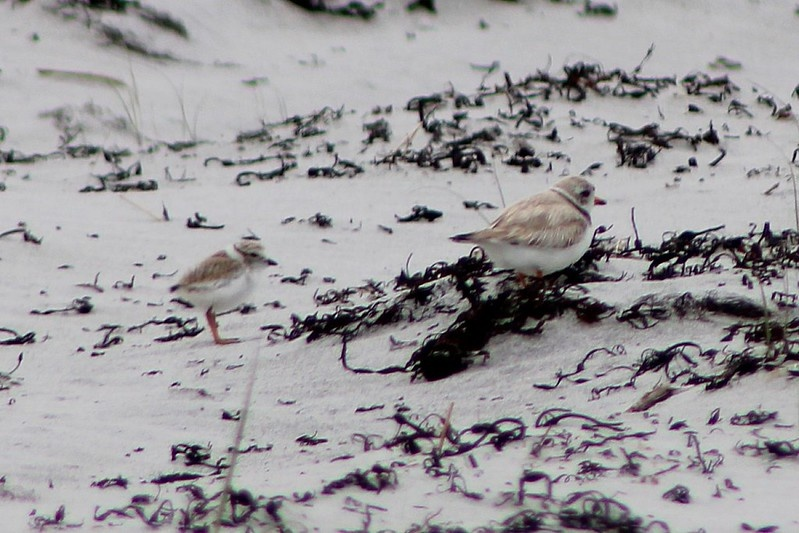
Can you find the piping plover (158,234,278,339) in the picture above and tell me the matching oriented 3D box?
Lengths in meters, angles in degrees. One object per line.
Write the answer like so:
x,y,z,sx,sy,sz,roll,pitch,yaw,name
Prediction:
-1.184,0.172,7.295,0.777,0.379,0.561,-3,81,6,piping plover
